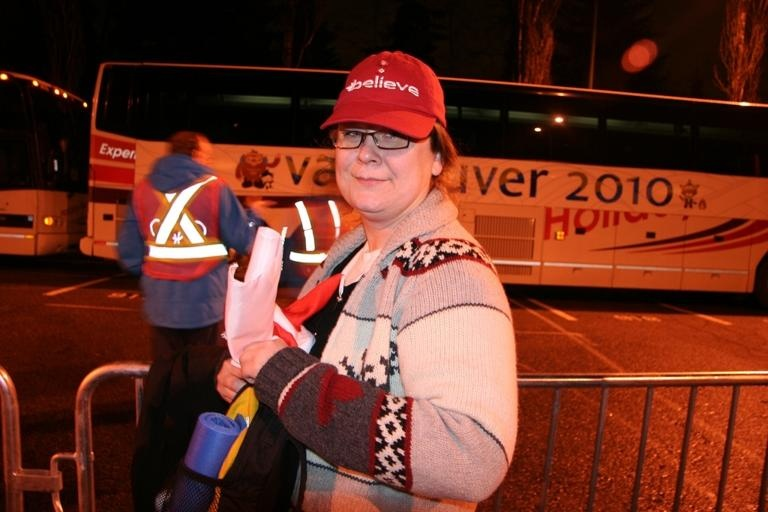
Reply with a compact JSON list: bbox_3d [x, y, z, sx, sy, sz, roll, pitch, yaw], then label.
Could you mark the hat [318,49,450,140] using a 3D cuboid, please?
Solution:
[{"bbox_3d":[0.097,-1.012,4.800,0.790,0.642,1.079,14,13,29],"label":"hat"}]
